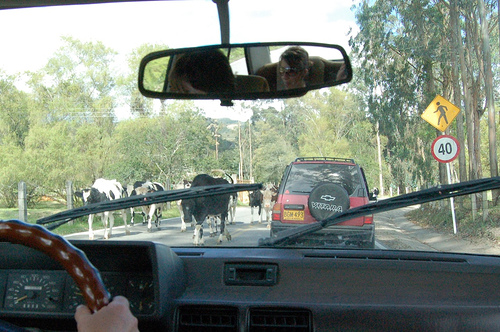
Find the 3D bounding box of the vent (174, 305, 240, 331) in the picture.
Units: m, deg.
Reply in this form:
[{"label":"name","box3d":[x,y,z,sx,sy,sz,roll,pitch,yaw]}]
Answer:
[{"label":"vent","box3d":[-0.403,1.399,4.860,0.617,0.248,0.063,-3,-5,5]}]

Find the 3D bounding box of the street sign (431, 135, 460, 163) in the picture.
[{"label":"street sign","box3d":[2.048,-0.154,5.447,0.290,0.379,0.036,-3,-23,20]}]

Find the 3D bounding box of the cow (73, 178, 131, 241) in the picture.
[{"label":"cow","box3d":[-4.535,1.316,16.530,0.773,1.746,2.913,0,-6,13]}]
